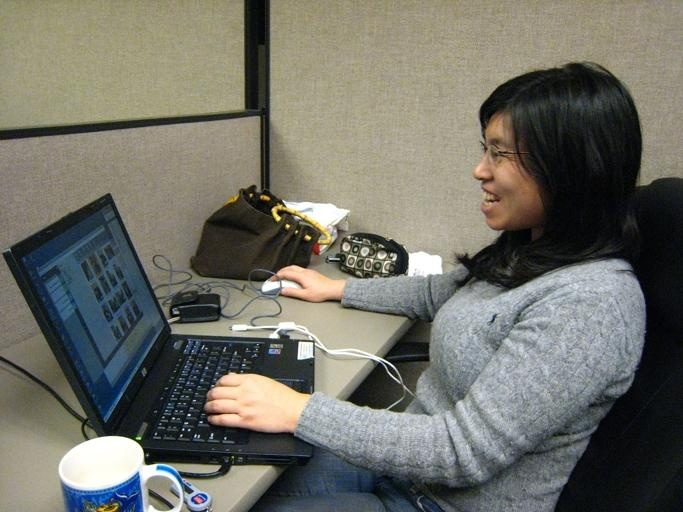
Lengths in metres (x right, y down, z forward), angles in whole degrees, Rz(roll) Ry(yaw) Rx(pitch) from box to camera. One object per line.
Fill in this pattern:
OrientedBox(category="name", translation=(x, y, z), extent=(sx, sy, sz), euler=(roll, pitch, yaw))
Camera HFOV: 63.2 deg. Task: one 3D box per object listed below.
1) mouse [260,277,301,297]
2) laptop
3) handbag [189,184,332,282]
OrientedBox(category="mouse", translation=(-0.155, 0.080, 1.510), extent=(0.086, 0.027, 0.048), euler=(6, 6, -13))
OrientedBox(category="laptop", translation=(-0.281, 0.122, 1.056), extent=(0.464, 0.408, 0.381), euler=(2, 20, -2))
OrientedBox(category="handbag", translation=(-0.216, -0.047, 1.626), extent=(0.350, 0.273, 0.157), euler=(4, -4, 6))
